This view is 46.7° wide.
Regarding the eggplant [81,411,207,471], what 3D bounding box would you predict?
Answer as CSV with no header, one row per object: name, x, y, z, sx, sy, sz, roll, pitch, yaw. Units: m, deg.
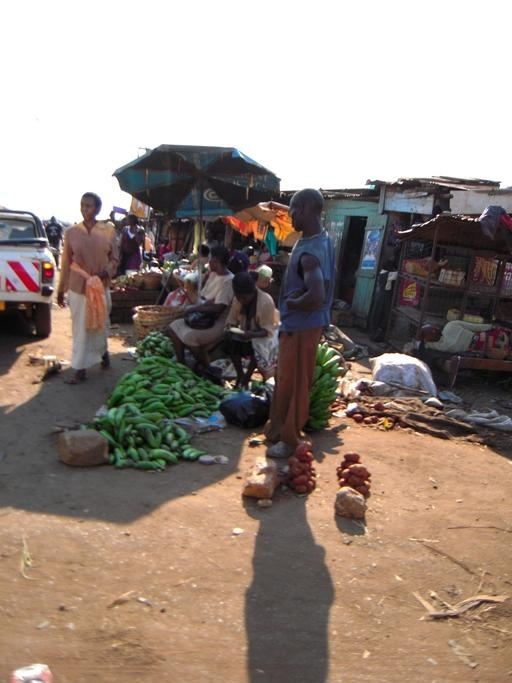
eggplant,-0.842,0.743,4.431,0.602,0.167,0.488,23,13,39

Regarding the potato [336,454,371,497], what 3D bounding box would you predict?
potato,0.648,0.884,3.926,0.224,0.101,0.261,-1,31,-1

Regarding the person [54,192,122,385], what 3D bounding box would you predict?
person,-1.702,-0.504,6.015,0.583,1.929,0.414,1,15,-16

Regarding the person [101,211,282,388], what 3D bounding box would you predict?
person,-0.348,-0.371,6.003,1.042,1.561,0.693,0,2,-26

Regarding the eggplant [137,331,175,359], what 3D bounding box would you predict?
eggplant,-1.150,0.065,6.862,0.358,0.345,0.176,17,-36,-33

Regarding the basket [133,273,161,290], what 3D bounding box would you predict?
basket,-1.855,-1.028,10.256,0.394,0.161,0.354,0,3,-13
